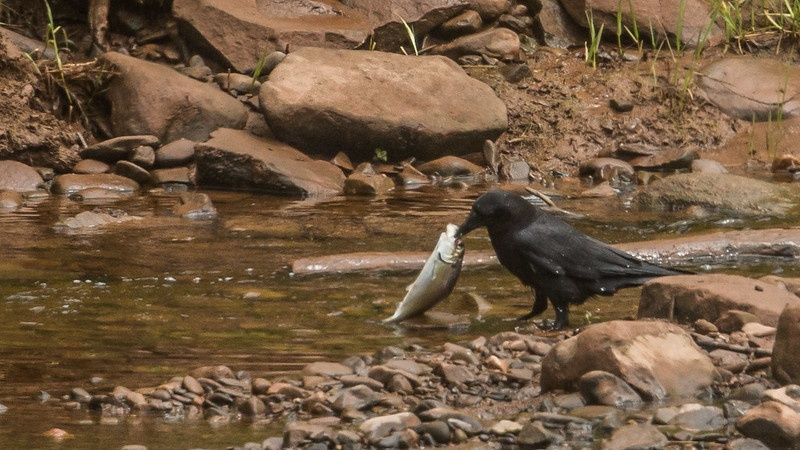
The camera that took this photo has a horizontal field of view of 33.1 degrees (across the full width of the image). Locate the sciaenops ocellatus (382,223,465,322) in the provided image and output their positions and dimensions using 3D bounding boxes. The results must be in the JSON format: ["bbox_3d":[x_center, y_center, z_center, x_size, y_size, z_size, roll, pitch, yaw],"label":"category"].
[{"bbox_3d":[0.408,0.754,20.710,1.137,1.449,0.270,-3,11,-1],"label":"sciaenops ocellatus"}]

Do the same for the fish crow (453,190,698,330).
[{"bbox_3d":[2.366,0.528,20.654,2.816,2.119,0.518,-1,11,6],"label":"fish crow"}]
